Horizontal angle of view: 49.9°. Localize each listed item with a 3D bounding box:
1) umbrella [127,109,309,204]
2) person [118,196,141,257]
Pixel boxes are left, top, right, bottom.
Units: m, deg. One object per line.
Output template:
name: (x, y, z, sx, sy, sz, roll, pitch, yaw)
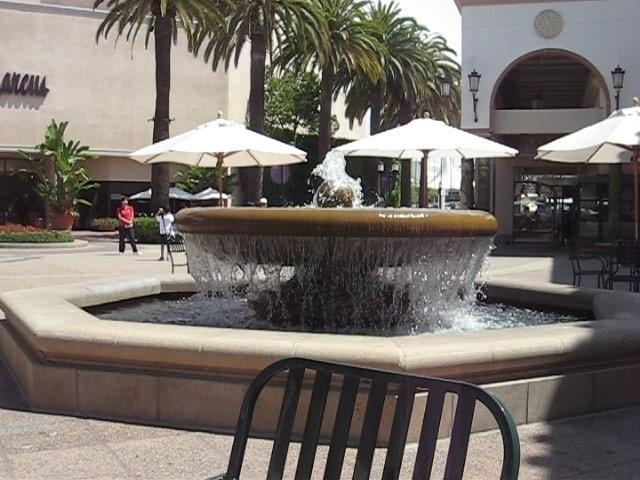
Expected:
umbrella: (-1.853, -1.501, 12.573, 3.156, 1.519, 3.546, 1, 8, -2)
person: (-5.969, -0.462, 21.637, 0.629, 1.791, 1.661, -1, 7, -16)
